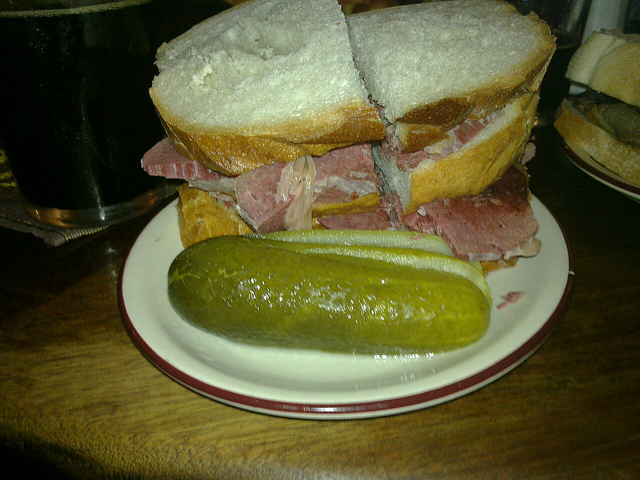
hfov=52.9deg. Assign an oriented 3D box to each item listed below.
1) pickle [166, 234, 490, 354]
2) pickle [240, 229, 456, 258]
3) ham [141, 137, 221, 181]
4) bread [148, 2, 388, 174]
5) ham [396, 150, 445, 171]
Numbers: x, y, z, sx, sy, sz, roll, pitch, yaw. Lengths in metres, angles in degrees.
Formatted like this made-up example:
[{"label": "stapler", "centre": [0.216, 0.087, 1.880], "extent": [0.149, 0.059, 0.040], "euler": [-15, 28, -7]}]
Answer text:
[{"label": "pickle", "centre": [0.006, 0.098, 1.113], "extent": [0.577, 0.196, 0.201], "euler": [3, 25, 16]}, {"label": "pickle", "centre": [0.047, 0.007, 1.118], "extent": [0.113, 0.012, 0.070], "euler": [-12, 21, -36]}, {"label": "ham", "centre": [-0.271, -0.178, 1.298], "extent": [0.129, 0.095, 0.136], "euler": [7, 18, 21]}, {"label": "bread", "centre": [-0.109, -0.325, 1.243], "extent": [0.418, 0.243, 0.370], "euler": [-5, 49, -3]}, {"label": "ham", "centre": [0.177, -0.150, 1.194], "extent": [0.050, 0.014, 0.051], "euler": [-22, 35, -14]}]
